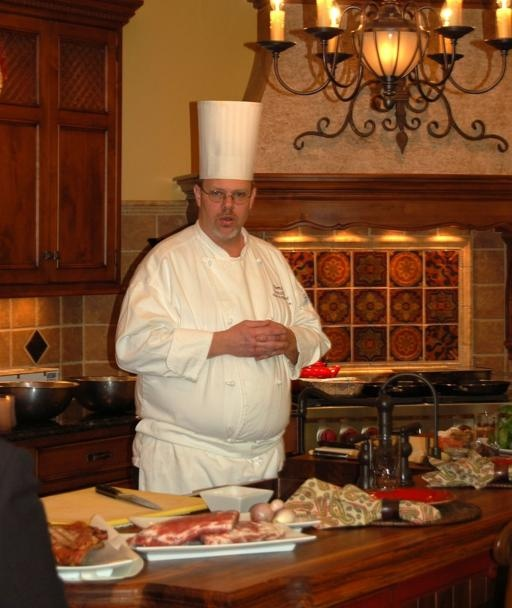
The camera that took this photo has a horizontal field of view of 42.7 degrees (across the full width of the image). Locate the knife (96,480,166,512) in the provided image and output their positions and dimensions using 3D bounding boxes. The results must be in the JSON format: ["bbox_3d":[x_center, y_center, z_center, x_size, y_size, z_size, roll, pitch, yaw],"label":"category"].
[{"bbox_3d":[-0.300,0.414,1.474,0.053,0.017,0.268,-2,2,-32],"label":"knife"}]

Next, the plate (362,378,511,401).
[{"bbox_3d":[0.885,0.420,3.202,0.654,0.066,0.355,-1,-6,1],"label":"plate"}]

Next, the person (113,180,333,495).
[{"bbox_3d":[-0.094,0.090,2.150,0.723,1.019,0.429,0,0,-19],"label":"person"}]

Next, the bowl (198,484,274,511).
[{"bbox_3d":[-0.046,0.401,1.392,0.098,0.024,0.076,2,-4,-33],"label":"bowl"}]

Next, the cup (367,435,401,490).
[{"bbox_3d":[0.303,0.377,1.558,0.065,0.120,0.050,0,0,8],"label":"cup"}]

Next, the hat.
[{"bbox_3d":[-0.094,-0.561,2.252,0.214,0.288,0.149,0,0,-3],"label":"hat"}]

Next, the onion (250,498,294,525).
[{"bbox_3d":[0.029,0.402,1.276,0.071,0.035,0.032,2,41,4],"label":"onion"}]
